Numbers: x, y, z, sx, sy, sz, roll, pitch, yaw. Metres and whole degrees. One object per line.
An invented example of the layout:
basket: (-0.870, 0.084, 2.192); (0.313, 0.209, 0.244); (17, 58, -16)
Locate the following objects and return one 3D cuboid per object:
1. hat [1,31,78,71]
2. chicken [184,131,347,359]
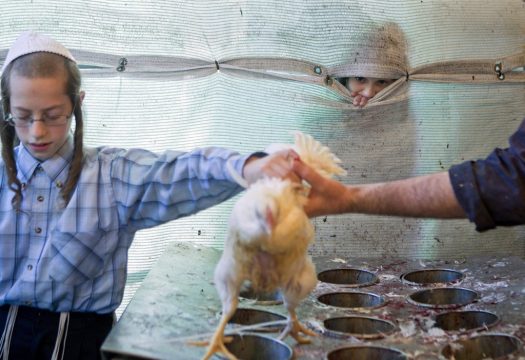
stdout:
hat: (-1.342, -0.790, 3.414); (0.275, 0.152, 0.280); (-20, -14, -8)
chicken: (0.046, 0.366, 3.133); (0.869, 1.166, 0.404); (-11, 17, -34)
